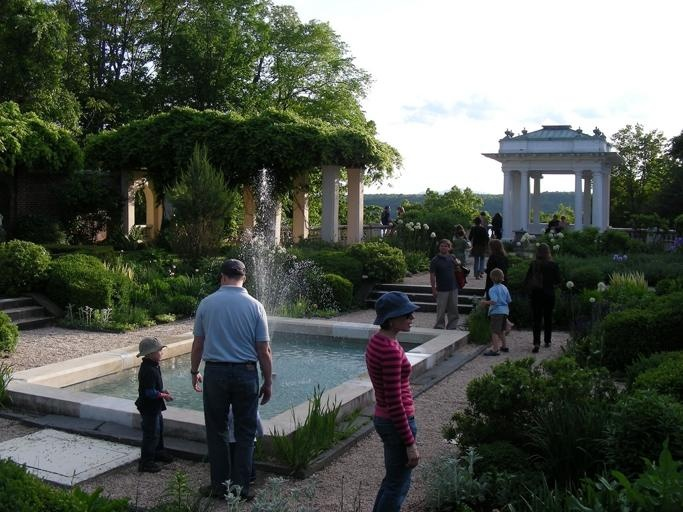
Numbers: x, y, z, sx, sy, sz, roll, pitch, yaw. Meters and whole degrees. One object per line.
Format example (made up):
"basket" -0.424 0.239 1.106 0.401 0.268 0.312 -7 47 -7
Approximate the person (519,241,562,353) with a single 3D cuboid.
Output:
"person" 3.364 0.685 11.181 0.531 1.776 0.840 2 9 13

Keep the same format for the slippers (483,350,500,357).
"slippers" 2.463 1.590 10.931 0.262 0.120 0.103 1 2 10

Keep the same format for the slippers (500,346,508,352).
"slippers" 2.717 1.553 11.147 0.053 0.080 0.142 -3 0 -30

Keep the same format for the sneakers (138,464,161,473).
"sneakers" -1.938 2.132 6.701 0.172 0.084 0.101 0 5 10

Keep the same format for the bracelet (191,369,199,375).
"bracelet" -1.419 1.135 6.494 0.050 0.020 0.053 2 4 8

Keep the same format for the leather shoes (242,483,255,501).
"leather shoes" -0.866 2.195 6.206 0.085 0.160 0.165 4 10 27

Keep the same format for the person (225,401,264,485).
"person" -0.924 1.911 6.833 0.225 0.926 0.228 4 16 -7

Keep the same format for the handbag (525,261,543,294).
"handbag" 3.177 0.330 11.010 0.165 0.530 0.346 -4 10 -22

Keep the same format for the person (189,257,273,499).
"person" -1.026 1.148 6.288 0.713 2.164 0.619 -2 9 -14

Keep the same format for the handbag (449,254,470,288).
"handbag" 2.237 0.317 12.459 0.440 0.795 0.575 0 7 2

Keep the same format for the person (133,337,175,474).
"person" -1.927 1.481 6.836 0.349 1.329 0.508 -3 9 -19

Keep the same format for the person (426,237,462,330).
"person" 1.941 0.531 12.489 0.522 1.757 0.899 1 9 8

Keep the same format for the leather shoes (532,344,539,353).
"leather shoes" 3.208 1.530 11.015 0.076 0.061 0.134 11 24 35

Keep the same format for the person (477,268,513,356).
"person" 2.653 0.884 11.339 0.434 1.558 1.346 2 9 14

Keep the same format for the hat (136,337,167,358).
"hat" -1.900 0.884 6.838 0.336 0.181 0.350 -15 5 -24

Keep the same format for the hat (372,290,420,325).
"hat" 0.349 0.434 5.644 0.349 0.201 0.280 -18 14 -39
